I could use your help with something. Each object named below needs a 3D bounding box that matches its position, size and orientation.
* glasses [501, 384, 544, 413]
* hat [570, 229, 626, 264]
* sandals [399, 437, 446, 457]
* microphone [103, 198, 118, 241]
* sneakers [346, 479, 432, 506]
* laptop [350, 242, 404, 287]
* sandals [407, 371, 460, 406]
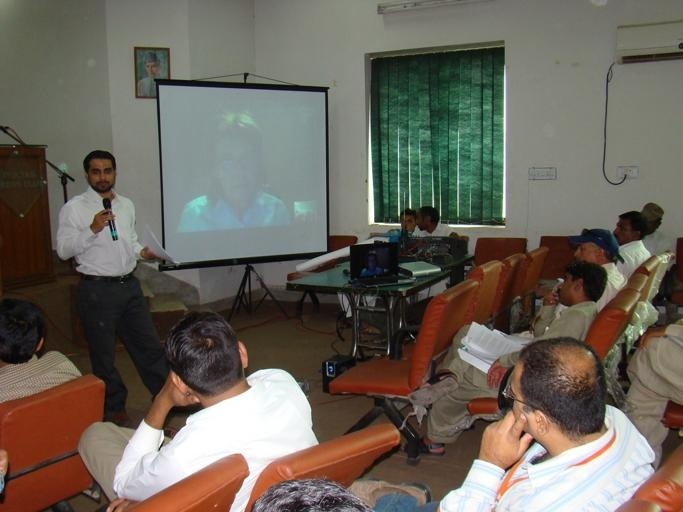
[{"bbox_3d":[0.589,0.496,1.797,0.094,0.032,0.092,27,9,34],"label":"glasses"},{"bbox_3d":[1.925,-0.096,3.898,0.397,0.195,0.277,24,0,30],"label":"hat"},{"bbox_3d":[0.495,1.187,3.210,0.271,0.127,0.123,8,7,13],"label":"sandals"},{"bbox_3d":[-1.528,-0.231,3.462,0.058,0.284,0.066,-15,-2,-6],"label":"microphone"},{"bbox_3d":[0.186,0.959,2.157,0.234,0.074,0.156,-5,1,27],"label":"sneakers"},{"bbox_3d":[0.268,0.080,3.879,0.387,0.296,0.291,-5,16,-10],"label":"laptop"},{"bbox_3d":[0.512,0.741,2.943,0.302,0.123,0.122,-28,-8,-11],"label":"sandals"}]
